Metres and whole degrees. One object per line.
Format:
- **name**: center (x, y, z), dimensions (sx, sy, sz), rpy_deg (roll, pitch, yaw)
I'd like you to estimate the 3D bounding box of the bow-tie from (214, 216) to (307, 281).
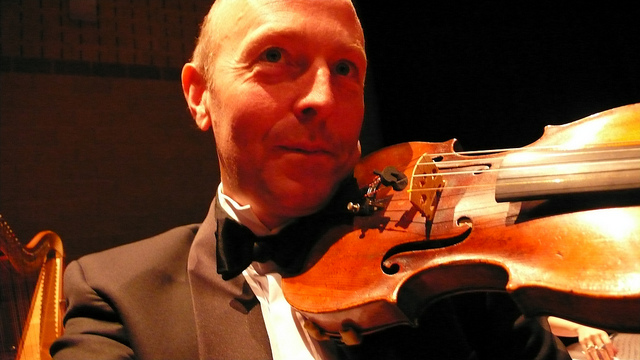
- **bow-tie**: center (-0.320, 0.376, 3.629), dimensions (0.517, 0.302, 0.176), rpy_deg (-5, -4, -3)
